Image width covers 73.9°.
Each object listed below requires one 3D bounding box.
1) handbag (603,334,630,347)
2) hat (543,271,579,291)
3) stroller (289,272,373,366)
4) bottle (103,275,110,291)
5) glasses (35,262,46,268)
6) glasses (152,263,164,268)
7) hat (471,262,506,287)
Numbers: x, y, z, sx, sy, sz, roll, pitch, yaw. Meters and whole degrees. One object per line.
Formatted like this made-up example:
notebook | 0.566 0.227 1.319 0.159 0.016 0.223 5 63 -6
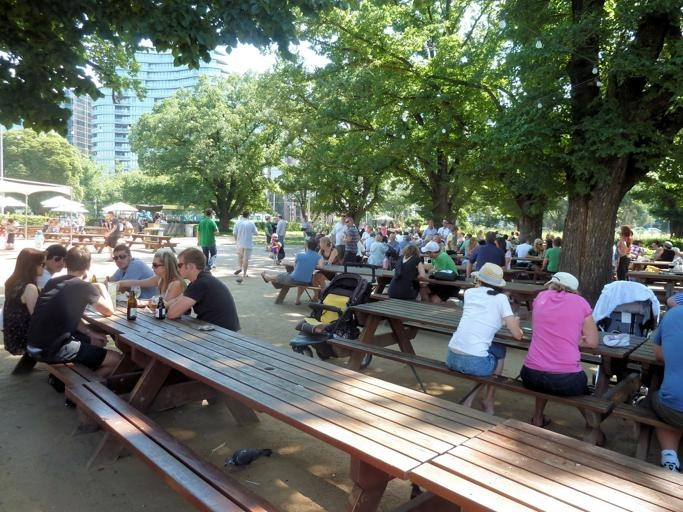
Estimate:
handbag | 2.963 0.918 4.939 0.197 0.056 0.178 3 2 0
hat | 2.207 0.248 4.598 0.315 0.142 0.228 8 5 33
stroller | -0.222 0.911 6.735 1.383 1.176 0.822 -8 9 -39
bottle | -3.619 0.409 6.951 0.082 0.256 0.208 11 -21 -24
glasses | -3.834 0.101 5.759 0.112 0.045 0.138 -7 -9 -14
glasses | -2.466 0.131 6.057 0.124 0.032 0.114 4 0 -35
hat | 1.604 0.201 4.914 0.310 0.110 0.282 32 25 32
